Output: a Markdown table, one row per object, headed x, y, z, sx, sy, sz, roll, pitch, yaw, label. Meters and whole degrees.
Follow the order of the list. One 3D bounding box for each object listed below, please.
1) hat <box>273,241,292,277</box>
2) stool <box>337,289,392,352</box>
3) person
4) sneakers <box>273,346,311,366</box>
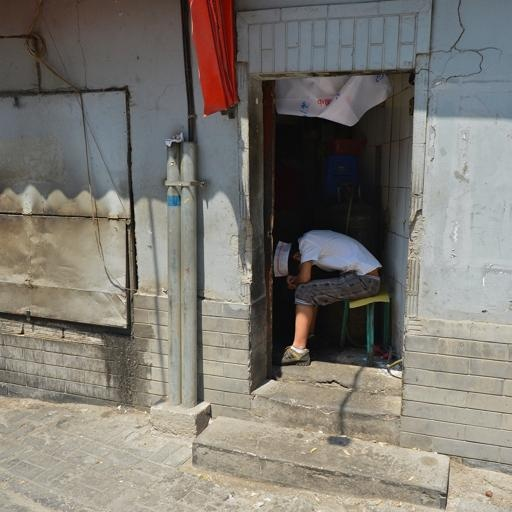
| x | y | z | sx | sy | sz | roll | pitch | yaw | label |
| --- | --- | --- | --- | --- | --- | --- | --- | --- | --- |
| 0.260 | 0.014 | 6.653 | 0.103 | 0.301 | 0.241 | 3 | 39 | 10 | hat |
| 1.171 | 0.625 | 6.772 | 0.546 | 0.765 | 0.547 | -2 | 1 | -24 | stool |
| 0.736 | 0.416 | 6.710 | 1.064 | 1.514 | 0.740 | -4 | -18 | 21 | person |
| 0.343 | 0.992 | 6.495 | 0.390 | 0.204 | 0.153 | 1 | -3 | 13 | sneakers |
